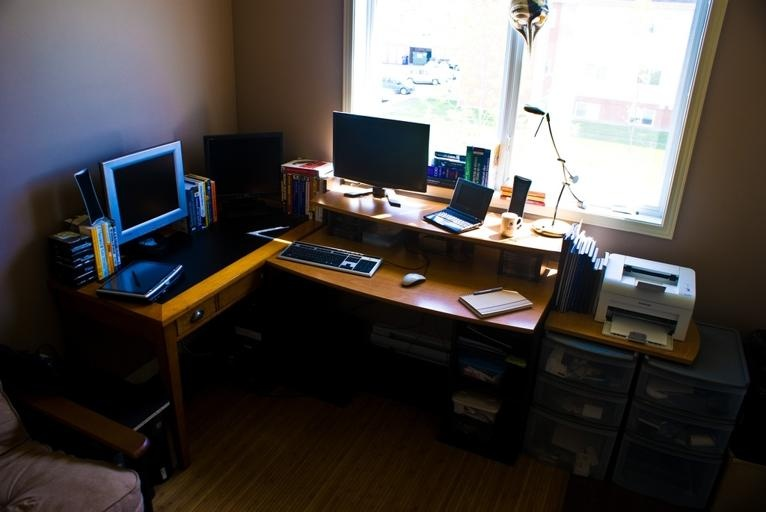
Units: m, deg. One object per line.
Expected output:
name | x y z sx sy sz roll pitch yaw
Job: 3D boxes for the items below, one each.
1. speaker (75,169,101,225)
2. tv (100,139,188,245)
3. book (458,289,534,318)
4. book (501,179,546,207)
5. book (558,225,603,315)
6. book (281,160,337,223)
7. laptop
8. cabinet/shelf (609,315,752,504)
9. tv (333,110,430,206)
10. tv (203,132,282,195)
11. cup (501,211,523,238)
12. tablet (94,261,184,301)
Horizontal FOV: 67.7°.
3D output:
speaker | -1.742 -0.357 3.388 0.100 0.299 0.211 -6 28 -15
tv | -1.545 -0.401 3.628 0.197 0.552 0.559 18 27 29
book | 0.662 0.279 3.349 0.263 0.041 0.193 -10 30 -19
book | 0.947 -0.407 3.776 0.184 0.044 0.184 2 32 1
book | 1.160 0.102 3.444 0.146 0.448 0.331 8 10 14
book | -0.598 -0.530 4.242 0.490 0.499 0.366 -5 15 -13
laptop | 0.511 -0.306 3.725 0.401 0.277 0.378 -23 42 -33
cabinet/shelf | 1.696 0.885 3.240 0.633 1.101 0.807 12 33 23
tv | -0.012 -0.655 3.910 0.648 0.539 0.068 12 32 21
tv | -1.026 -0.662 4.114 0.452 0.386 0.090 -6 18 -11
cup | 0.802 -0.187 3.575 0.172 0.147 0.110 4 27 -1
tablet | -1.431 0.149 3.364 0.378 0.072 0.345 8 28 10
